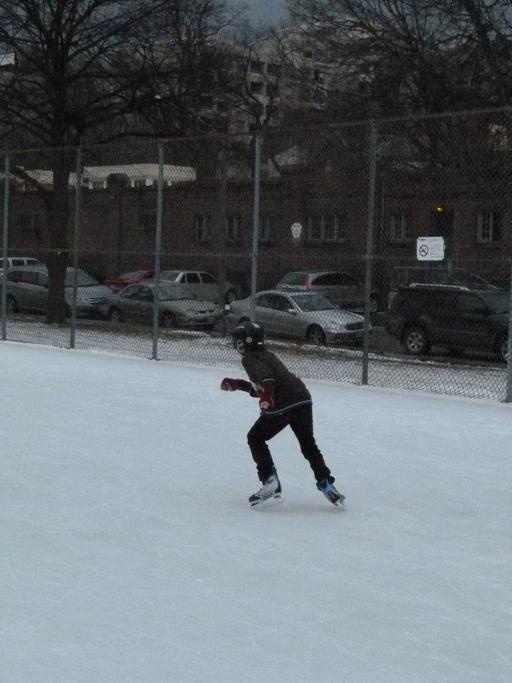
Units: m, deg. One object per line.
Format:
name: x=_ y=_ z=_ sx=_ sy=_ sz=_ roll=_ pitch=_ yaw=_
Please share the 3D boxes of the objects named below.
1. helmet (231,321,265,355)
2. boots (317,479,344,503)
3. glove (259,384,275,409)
helmet: x=-0.051 y=-0.028 z=5.606 sx=0.183 sy=0.239 sz=0.240 roll=0 pitch=10 yaw=-16
boots: x=0.529 y=1.072 z=5.486 sx=0.181 sy=0.216 sz=0.240 roll=1 pitch=3 yaw=16
glove: x=0.070 y=0.394 z=5.360 sx=0.092 sy=0.213 sz=0.248 roll=1 pitch=3 yaw=2
